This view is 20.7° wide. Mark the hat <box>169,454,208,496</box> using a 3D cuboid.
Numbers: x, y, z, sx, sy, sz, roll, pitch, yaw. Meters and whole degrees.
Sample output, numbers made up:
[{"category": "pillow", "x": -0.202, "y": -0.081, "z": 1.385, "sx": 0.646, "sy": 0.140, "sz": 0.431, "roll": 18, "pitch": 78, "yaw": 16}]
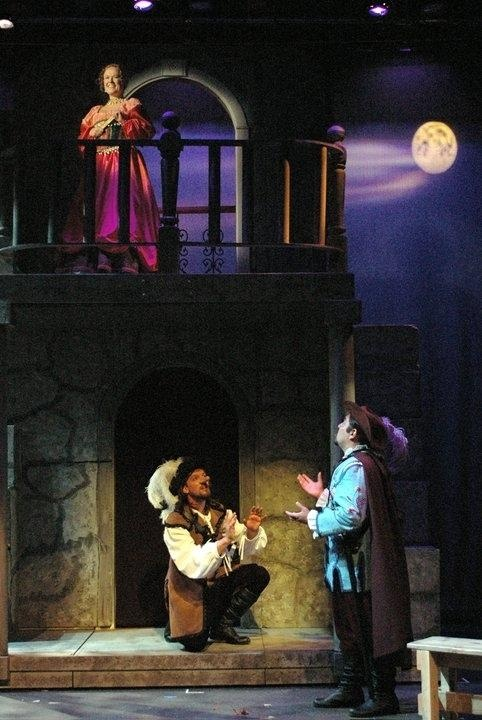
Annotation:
[{"category": "hat", "x": -0.397, "y": 0.776, "z": 8.661, "sx": 0.248, "sy": 0.193, "sz": 0.191, "roll": -28, "pitch": -1, "yaw": 40}]

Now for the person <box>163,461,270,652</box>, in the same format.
[{"category": "person", "x": -0.231, "y": 1.273, "z": 8.504, "sx": 0.802, "sy": 1.186, "sz": 0.666, "roll": -3, "pitch": 3, "yaw": 24}]

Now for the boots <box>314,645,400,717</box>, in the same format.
[{"category": "boots", "x": 0.684, "y": 1.842, "z": 7.634, "sx": 0.334, "sy": 0.381, "sz": 0.404, "roll": 18, "pitch": -22, "yaw": -31}]

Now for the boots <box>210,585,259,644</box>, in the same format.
[{"category": "boots", "x": -0.042, "y": 1.676, "z": 8.585, "sx": 0.273, "sy": 0.356, "sz": 0.171, "roll": 6, "pitch": -13, "yaw": 22}]

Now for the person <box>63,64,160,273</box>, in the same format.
[{"category": "person", "x": -0.956, "y": -1.478, "z": 9.620, "sx": 0.708, "sy": 1.715, "sz": 1.240, "roll": 0, "pitch": -5, "yaw": -4}]
